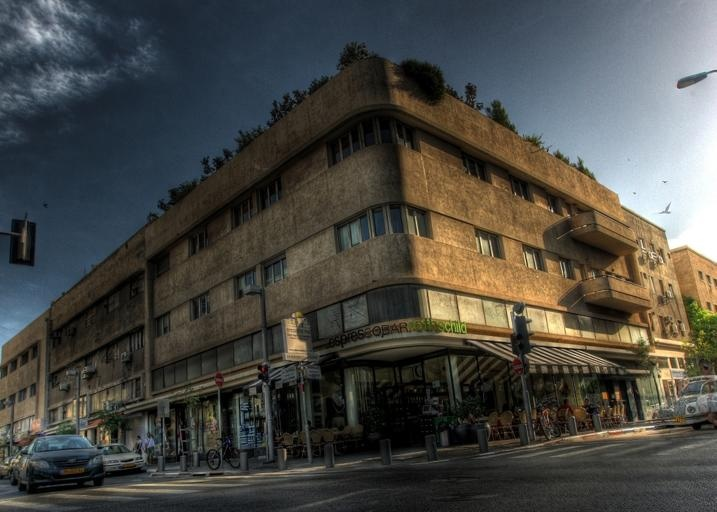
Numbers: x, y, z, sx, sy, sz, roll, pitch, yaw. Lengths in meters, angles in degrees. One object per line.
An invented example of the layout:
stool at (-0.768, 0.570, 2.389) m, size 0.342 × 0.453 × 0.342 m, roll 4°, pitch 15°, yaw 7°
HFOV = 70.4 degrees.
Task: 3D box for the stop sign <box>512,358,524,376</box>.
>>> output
stop sign at (6.441, 4.461, 20.740) m, size 0.393 × 0.826 × 1.258 m, roll -11°, pitch -24°, yaw 11°

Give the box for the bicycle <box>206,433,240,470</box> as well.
bicycle at (-5.890, 8.546, 22.142) m, size 1.265 × 1.544 × 3.244 m, roll 0°, pitch -25°, yaw -15°

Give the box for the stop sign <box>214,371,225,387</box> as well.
stop sign at (-6.326, 5.581, 22.908) m, size 0.273 × 0.822 × 1.678 m, roll -1°, pitch -24°, yaw -12°

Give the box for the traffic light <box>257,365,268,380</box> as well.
traffic light at (-4.151, 5.007, 22.076) m, size 0.406 × 0.740 × 0.462 m, roll 1°, pitch -24°, yaw -15°
